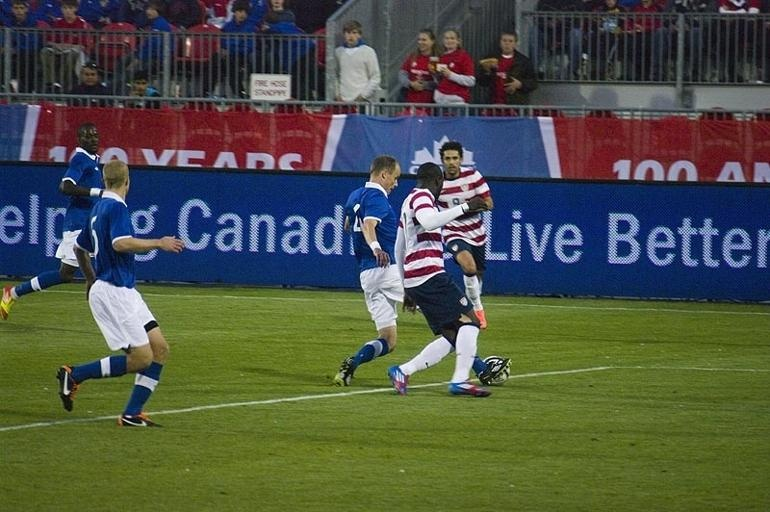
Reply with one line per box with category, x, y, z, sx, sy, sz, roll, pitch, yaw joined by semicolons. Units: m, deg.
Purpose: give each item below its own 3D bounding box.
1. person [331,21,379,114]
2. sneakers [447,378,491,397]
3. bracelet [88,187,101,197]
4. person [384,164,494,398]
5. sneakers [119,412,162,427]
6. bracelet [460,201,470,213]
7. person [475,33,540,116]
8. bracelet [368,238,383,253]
person;-0.513;-3.587;25.319;0.826;1.440;0.571;4;15;7
sneakers;1.043;1.677;17.312;0.564;0.204;0.191;0;4;7
bracelet;-4.382;-0.974;20.913;0.166;0.100;0.154;3;13;11
person;0.755;0.304;17.404;1.227;2.900;1.145;2;15;1
sneakers;-2.844;1.916;16.006;0.441;0.142;0.150;4;9;-11
bracelet;1.007;-0.613;17.058;0.130;0.116;0.039;-7;-28;34
person;2.251;-3.466;25.396;0.594;1.319;1.065;-9;18;-36
bracelet;-0.117;-0.133;17.801;0.153;0.120;0.133;-17;48;-17
